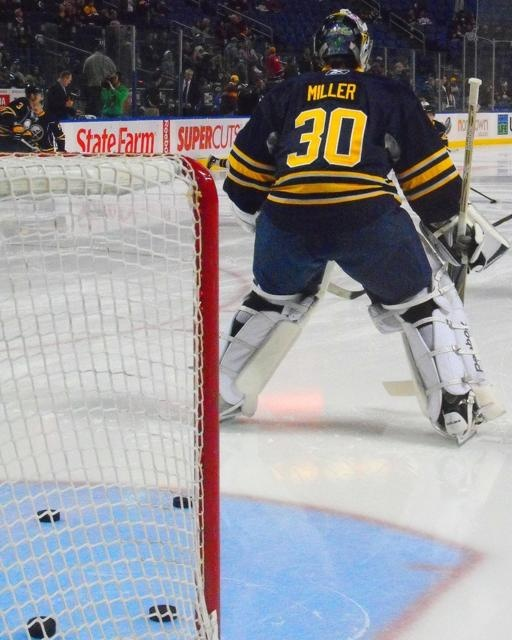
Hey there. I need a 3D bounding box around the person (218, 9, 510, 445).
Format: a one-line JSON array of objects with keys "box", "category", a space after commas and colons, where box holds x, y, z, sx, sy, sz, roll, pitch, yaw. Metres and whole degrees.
[{"box": [0.310, -0.174, 2.152, 0.903, 1.080, 0.358, 6, 16, 7], "category": "person"}]

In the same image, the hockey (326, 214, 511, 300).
[{"box": [0.570, -0.186, 2.361, 0.506, 0.193, 0.311, -24, 26, 0], "category": "hockey"}]

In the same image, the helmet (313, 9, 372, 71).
[{"box": [0.303, -0.869, 2.258, 0.205, 0.168, 0.206, 3, 35, 9], "category": "helmet"}]
